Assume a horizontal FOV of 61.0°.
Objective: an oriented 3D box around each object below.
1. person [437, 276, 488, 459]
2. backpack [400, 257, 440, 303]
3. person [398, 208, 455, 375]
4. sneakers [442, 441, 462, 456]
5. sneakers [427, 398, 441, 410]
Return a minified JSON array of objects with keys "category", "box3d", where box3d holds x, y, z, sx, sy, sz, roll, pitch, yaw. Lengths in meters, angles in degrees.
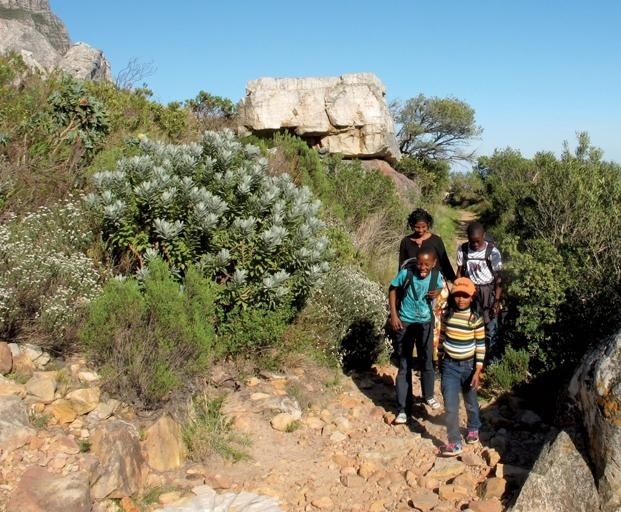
[{"category":"person","box3d":[1.622,1.216,5.638,0.480,1.920,0.545,-2,13,7]},{"category":"backpack","box3d":[1.250,0.308,6.189,0.507,0.536,0.248,7,16,36]},{"category":"person","box3d":[1.502,0.214,6.966,0.677,1.823,0.402,0,27,11]},{"category":"sneakers","box3d":[1.548,2.071,5.652,0.248,0.138,0.110,3,-2,-13]},{"category":"sneakers","box3d":[1.552,1.876,6.610,0.117,0.100,0.215,-33,-12,-4]}]
